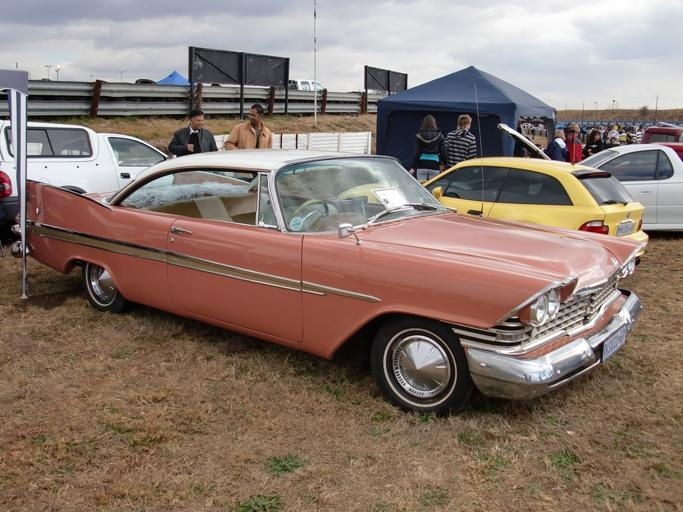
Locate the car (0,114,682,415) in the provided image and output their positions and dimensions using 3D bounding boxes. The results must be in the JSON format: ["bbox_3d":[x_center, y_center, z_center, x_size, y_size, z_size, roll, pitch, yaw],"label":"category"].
[{"bbox_3d":[-0.513,-0.238,4.428,5.318,1.208,2.154,6,16,27],"label":"car"}]
